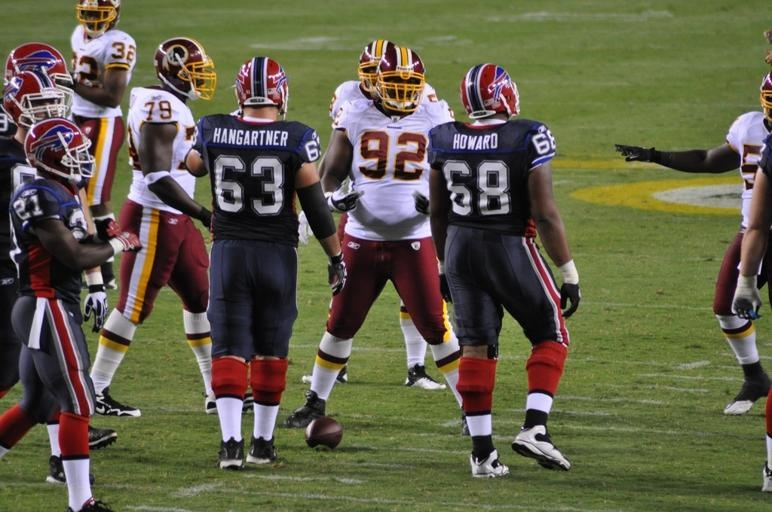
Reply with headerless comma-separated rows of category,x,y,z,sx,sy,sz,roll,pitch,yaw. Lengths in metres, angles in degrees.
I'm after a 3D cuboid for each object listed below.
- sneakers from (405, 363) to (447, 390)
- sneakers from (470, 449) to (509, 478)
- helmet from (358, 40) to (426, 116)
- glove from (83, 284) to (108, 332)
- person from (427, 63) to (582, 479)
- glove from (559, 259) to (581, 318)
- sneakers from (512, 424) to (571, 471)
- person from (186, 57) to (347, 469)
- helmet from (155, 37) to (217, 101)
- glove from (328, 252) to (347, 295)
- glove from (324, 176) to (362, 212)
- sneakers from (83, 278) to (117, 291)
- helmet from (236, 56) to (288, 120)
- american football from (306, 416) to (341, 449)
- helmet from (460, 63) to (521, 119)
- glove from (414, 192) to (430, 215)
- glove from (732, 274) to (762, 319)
sneakers,0.366,0.942,11.120,0.401,0.183,0.141,2,-3,4
sneakers,0.691,1.408,9.635,0.123,0.120,0.325,1,0,41
helmet,0.059,-1.285,10.399,0.452,0.534,0.312,-1,11,-2
glove,-1.982,0.343,9.797,0.237,0.351,0.129,-1,10,-24
person,0.803,0.091,9.674,1.017,2.737,0.926,-1,11,3
glove,1.262,0.203,9.808,0.147,0.392,0.121,16,48,9
sneakers,1.054,1.270,9.583,0.189,0.222,0.526,-21,-39,38
person,-0.803,0.033,9.802,0.909,2.751,0.655,-3,11,-10
helmet,-1.516,-1.414,10.768,0.527,0.399,0.384,6,13,7
glove,-0.366,0.108,10.099,0.128,0.291,0.144,9,27,21
glove,-0.318,-0.425,10.322,0.162,0.166,0.397,19,3,-10
sneakers,-2.197,0.209,11.063,0.275,0.073,0.160,-3,-19,-10
helmet,-0.852,-1.209,9.907,0.364,0.320,0.436,3,15,4
american football,-0.421,1.228,10.039,0.280,0.189,0.216,-13,8,-42
helmet,0.666,-1.174,9.920,0.417,0.351,0.502,0,12,20
glove,0.264,-0.377,10.204,0.118,0.101,0.140,-5,44,-8
glove,2.497,0.279,9.783,0.217,0.265,0.140,1,3,41
